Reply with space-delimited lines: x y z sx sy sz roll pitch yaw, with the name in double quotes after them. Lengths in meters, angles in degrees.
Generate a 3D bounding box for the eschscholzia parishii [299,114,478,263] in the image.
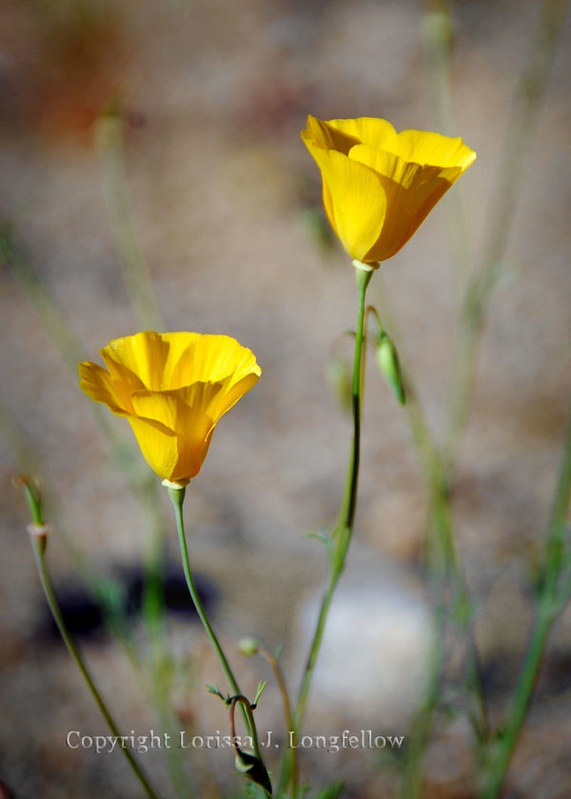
0.045 -0.102 0.502 0.088 0.073 0.084 14 15 21 "eschscholzia parishii"

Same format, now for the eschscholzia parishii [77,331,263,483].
-0.058 0.000 0.499 0.084 0.069 0.085 21 27 38 "eschscholzia parishii"
